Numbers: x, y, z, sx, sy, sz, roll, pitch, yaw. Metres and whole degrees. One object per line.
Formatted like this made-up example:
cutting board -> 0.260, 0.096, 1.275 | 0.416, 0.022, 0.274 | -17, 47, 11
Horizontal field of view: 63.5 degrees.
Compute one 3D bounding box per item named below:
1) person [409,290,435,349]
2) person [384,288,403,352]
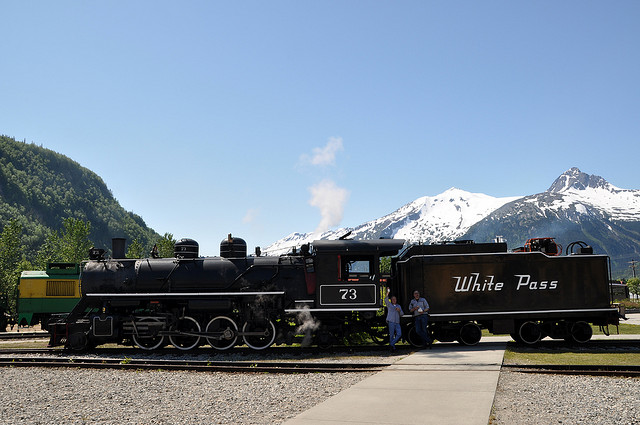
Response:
person -> 4.419, 4.635, 22.288 | 0.966, 2.324, 0.869 | 3, -14, -10
person -> 3.165, 4.645, 22.256 | 0.625, 2.640, 0.764 | -7, -16, 30
